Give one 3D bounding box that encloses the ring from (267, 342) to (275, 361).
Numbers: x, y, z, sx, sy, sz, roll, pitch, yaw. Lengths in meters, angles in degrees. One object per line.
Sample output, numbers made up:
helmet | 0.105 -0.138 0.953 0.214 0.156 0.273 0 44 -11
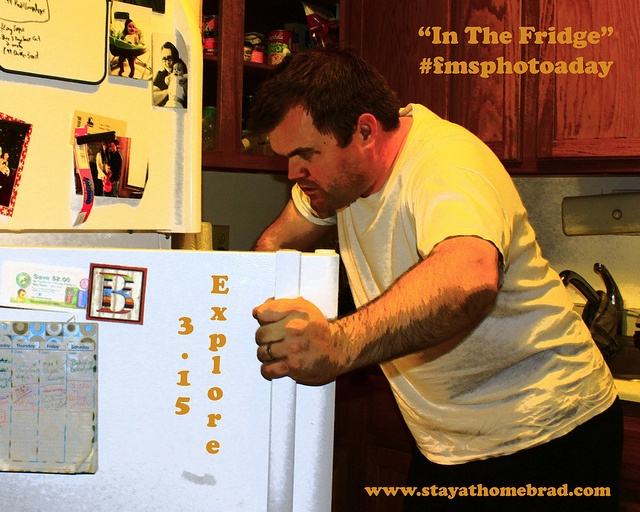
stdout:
ring | -0.086 0.166 1.278 0.013 0.032 0.014 2 3 0
